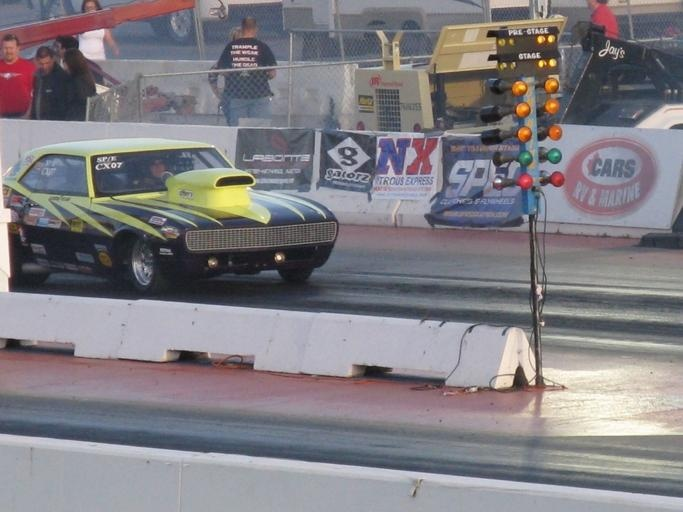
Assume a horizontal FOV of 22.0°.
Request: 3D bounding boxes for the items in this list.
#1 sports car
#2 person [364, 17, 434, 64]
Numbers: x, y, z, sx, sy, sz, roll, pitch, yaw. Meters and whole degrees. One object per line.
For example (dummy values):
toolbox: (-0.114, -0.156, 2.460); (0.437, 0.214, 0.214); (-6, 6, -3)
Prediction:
sports car: (-2.762, -0.608, 23.655); (3.722, 1.114, 2.296); (6, 8, 42)
person: (1.225, -4.396, 35.599); (1.164, 0.520, 1.159); (2, 6, 23)
